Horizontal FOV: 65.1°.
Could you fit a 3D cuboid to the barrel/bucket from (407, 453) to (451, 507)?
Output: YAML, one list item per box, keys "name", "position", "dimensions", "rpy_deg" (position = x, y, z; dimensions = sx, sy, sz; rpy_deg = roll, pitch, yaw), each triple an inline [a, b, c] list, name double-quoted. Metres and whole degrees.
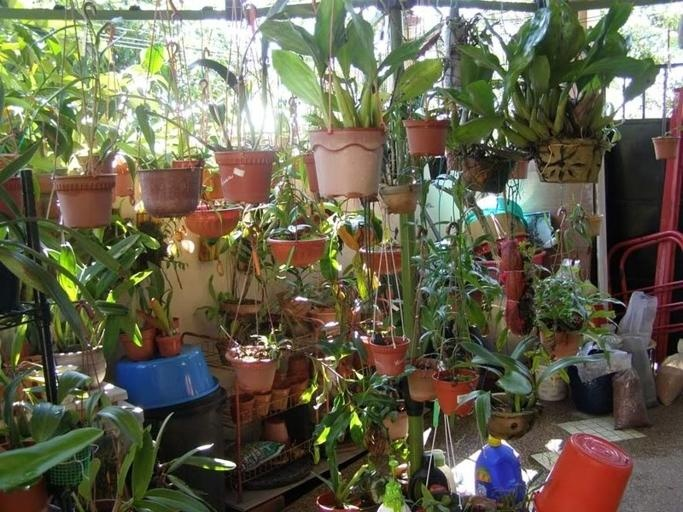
- name: "barrel/bucket"
  position: [0.368, 0.958, 2.284]
  dimensions: [0.202, 0.230, 0.152]
  rpy_deg: [-3, -4, 8]

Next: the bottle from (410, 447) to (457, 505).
- name: "bottle"
  position: [0.401, 0.938, 2.328]
  dimensions: [0.186, 0.226, 0.214]
  rpy_deg: [-1, -4, 9]

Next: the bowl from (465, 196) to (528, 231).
- name: "bowl"
  position: [0.874, -0.241, 3.028]
  dimensions: [0.327, 0.169, 0.385]
  rpy_deg: [4, 4, 30]

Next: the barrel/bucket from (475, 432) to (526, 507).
- name: "barrel/bucket"
  position: [0.667, 0.931, 2.268]
  dimensions: [0.209, 0.330, 0.369]
  rpy_deg: [-3, 3, 17]

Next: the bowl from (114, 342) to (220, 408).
- name: "bowl"
  position: [-0.798, 0.601, 2.732]
  dimensions: [0.363, 0.154, 0.364]
  rpy_deg: [-19, -6, -2]
